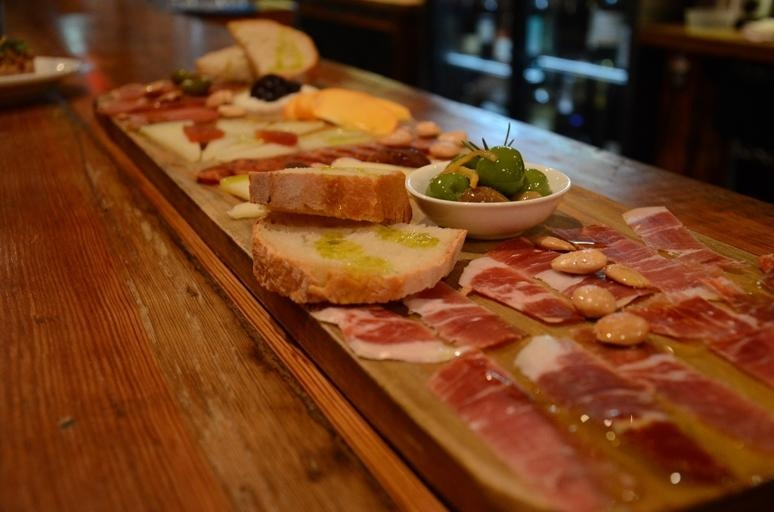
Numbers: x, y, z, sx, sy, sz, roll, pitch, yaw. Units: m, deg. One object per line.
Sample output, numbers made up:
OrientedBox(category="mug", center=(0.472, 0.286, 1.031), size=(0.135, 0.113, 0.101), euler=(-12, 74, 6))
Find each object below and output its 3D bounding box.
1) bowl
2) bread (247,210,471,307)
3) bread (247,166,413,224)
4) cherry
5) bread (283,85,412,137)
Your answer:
OrientedBox(category="bowl", center=(0.340, -0.225, 1.704), size=(0.468, 0.197, 0.608), euler=(-10, 19, -30))
OrientedBox(category="bread", center=(-0.093, 0.007, 1.400), size=(0.570, 0.105, 0.330), euler=(5, 31, 7))
OrientedBox(category="bread", center=(-0.198, -0.191, 1.551), size=(0.456, 0.145, 0.300), euler=(-18, 22, -42))
OrientedBox(category="cherry", center=(0.300, -0.224, 1.560), size=(0.236, 0.103, 0.225), euler=(-8, 12, -39))
OrientedBox(category="bread", center=(-0.198, -0.669, 2.534), size=(0.396, 0.105, 0.370), euler=(13, 3, -25))
